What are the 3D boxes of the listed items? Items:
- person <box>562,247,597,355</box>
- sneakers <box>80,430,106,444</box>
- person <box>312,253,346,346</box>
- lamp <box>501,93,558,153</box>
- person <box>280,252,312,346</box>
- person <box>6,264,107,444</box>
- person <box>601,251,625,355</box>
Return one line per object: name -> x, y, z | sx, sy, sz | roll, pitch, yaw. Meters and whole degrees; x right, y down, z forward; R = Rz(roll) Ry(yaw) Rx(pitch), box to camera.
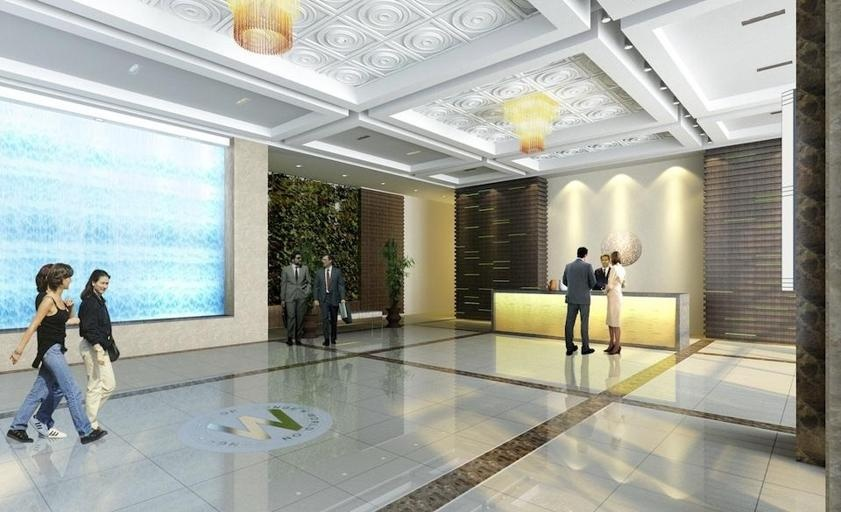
person -> 3.230, 0.930, 8.721 | 0.643, 2.176, 1.188 | 3, 8, 21
sneakers -> -3.676, 2.024, 4.777 | 0.256, 0.090, 0.091 | -4, 6, -33
person -> -2.090, 1.001, 9.669 | 0.648, 2.083, 1.357 | -2, 8, -12
lamp -> 2.126, -2.588, 8.343 | 1.057, 1.051, 0.533 | 1, 8, 9
person -> -2.850, 0.972, 9.720 | 0.615, 2.104, 1.051 | -3, 8, -20
person -> -4.119, 1.087, 4.724 | 0.941, 1.981, 0.543 | -3, 8, -22
person -> 3.945, 0.952, 8.745 | 0.371, 2.071, 0.928 | 4, 8, 24
